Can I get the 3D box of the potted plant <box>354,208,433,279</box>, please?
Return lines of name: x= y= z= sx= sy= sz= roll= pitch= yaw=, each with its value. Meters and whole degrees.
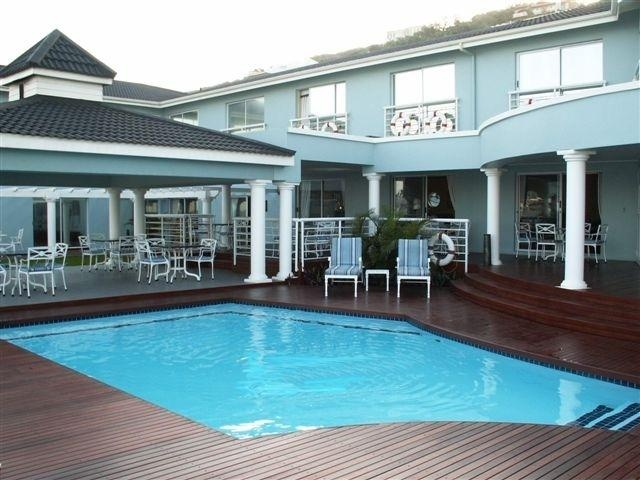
potted plant: x=2.645 y=0.167 z=14.975 sx=2.720 sy=2.113 sz=2.038 roll=4 pitch=-2 yaw=-31
